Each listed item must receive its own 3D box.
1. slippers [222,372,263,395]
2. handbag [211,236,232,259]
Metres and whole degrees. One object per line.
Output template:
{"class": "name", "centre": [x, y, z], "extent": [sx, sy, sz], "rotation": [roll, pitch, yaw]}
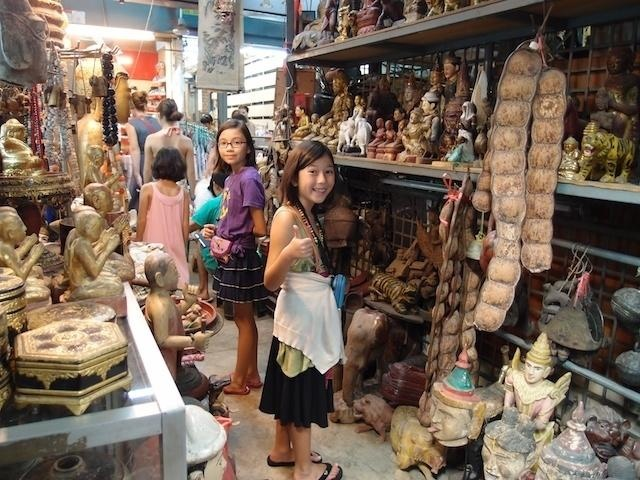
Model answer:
{"class": "slippers", "centre": [-0.568, 1.100, 3.472], "extent": [0.345, 0.130, 0.204], "rotation": [-2, 9, -5]}
{"class": "handbag", "centre": [-0.690, 0.052, 3.282], "extent": [0.131, 0.107, 0.071], "rotation": [15, 7, 40]}
